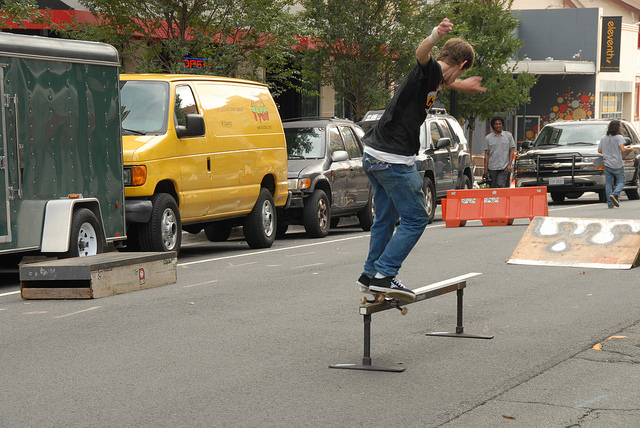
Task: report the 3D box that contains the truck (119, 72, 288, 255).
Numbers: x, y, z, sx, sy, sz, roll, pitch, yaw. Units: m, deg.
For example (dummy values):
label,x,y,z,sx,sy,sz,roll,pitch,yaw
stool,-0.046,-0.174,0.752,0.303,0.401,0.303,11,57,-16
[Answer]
label,x,y,z,sx,sy,sz,roll,pitch,yaw
truck,-3.051,-1.029,12.750,2.941,3.449,5.417,2,6,26

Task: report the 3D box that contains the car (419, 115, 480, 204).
label,x,y,z,sx,sy,sz,roll,pitch,yaw
car,3.628,-1.662,18.571,1.720,1.702,2.862,-4,0,34

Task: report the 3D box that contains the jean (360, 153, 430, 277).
label,x,y,z,sx,sy,sz,roll,pitch,yaw
jean,0.703,0.007,5.665,0.611,1.157,0.596,-2,5,-11

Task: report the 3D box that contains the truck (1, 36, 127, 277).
label,x,y,z,sx,sy,sz,roll,pitch,yaw
truck,-3.913,-1.050,9.295,0.627,3.375,2.010,1,5,22

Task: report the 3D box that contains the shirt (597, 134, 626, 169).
label,x,y,z,sx,sy,sz,roll,pitch,yaw
shirt,9.262,-1.973,19.132,0.680,1.100,0.443,1,5,25

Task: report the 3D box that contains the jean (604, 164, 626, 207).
label,x,y,z,sx,sy,sz,roll,pitch,yaw
jean,9.422,-0.900,19.294,0.570,1.357,0.621,2,5,32

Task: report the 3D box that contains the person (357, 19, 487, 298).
label,x,y,z,sx,sy,sz,roll,pitch,yaw
person,0.833,-0.457,5.548,0.987,2.372,0.814,0,5,9

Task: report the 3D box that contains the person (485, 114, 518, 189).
label,x,y,z,sx,sy,sz,roll,pitch,yaw
person,5.759,-1.560,19.435,1.016,3.133,0.820,0,20,16

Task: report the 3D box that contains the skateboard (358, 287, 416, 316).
label,x,y,z,sx,sy,sz,roll,pitch,yaw
skateboard,0.611,0.814,5.432,0.476,0.310,0.519,0,5,6

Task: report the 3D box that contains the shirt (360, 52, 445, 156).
label,x,y,z,sx,sy,sz,roll,pitch,yaw
shirt,0.814,-0.945,5.629,0.440,0.903,0.548,24,2,32

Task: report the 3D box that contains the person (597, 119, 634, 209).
label,x,y,z,sx,sy,sz,roll,pitch,yaw
person,9.375,-1.612,19.276,0.773,2.842,1.351,1,5,27
